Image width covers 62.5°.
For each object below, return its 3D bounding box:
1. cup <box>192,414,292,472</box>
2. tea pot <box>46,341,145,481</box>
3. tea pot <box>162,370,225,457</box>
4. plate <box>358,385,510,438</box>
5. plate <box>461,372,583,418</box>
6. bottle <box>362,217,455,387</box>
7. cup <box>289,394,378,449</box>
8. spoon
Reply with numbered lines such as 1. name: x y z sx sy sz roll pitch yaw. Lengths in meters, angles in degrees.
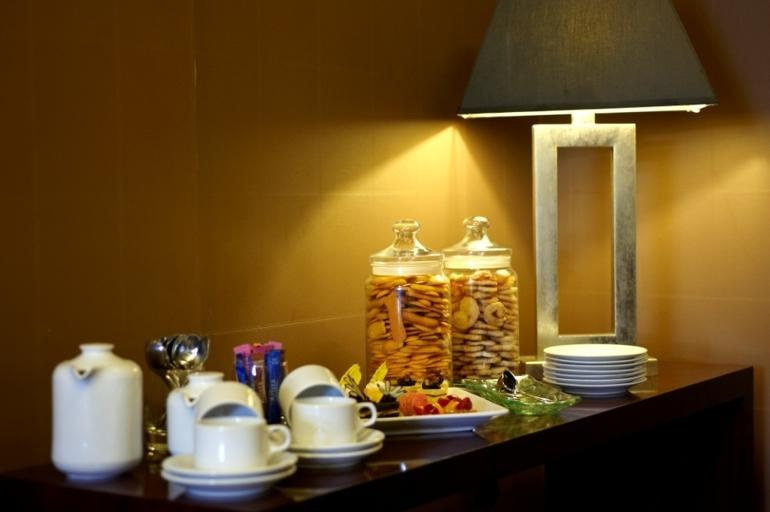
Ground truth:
1. cup: -0.231 0.285 0.975 0.115 0.053 0.080 3 -6 -7
2. tea pot: -0.536 0.238 1.227 0.192 0.299 0.302 3 -7 -31
3. tea pot: -0.293 0.271 1.083 0.097 0.130 0.140 1 0 14
4. plate: 0.148 0.345 1.369 0.222 0.080 0.358 -4 -1 34
5. plate: 0.340 0.338 1.524 0.118 0.034 0.154 0 4 -36
6. bottle: 0.054 0.110 1.600 0.219 0.375 0.113 -3 -1 -3
7. cup: -0.096 0.285 1.106 0.115 0.067 0.085 1 -6 3
8. spoon: -0.419 0.217 1.287 0.115 0.120 0.109 -8 -13 31
